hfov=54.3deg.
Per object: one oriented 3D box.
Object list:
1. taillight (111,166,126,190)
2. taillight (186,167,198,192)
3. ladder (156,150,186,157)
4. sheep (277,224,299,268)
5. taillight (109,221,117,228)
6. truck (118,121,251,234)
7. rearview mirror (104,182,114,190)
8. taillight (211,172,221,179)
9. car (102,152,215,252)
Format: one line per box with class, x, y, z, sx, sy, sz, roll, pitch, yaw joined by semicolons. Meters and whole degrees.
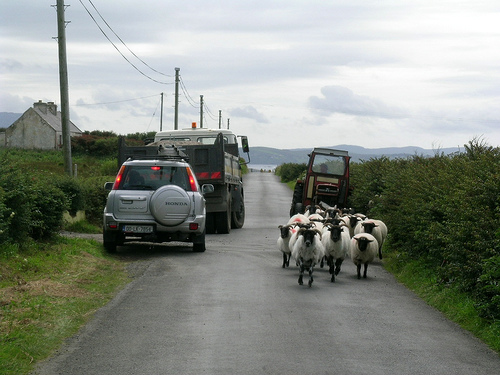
taillight;-3.928;-0.275;14.433;0.361;0.726;0.381;3;2;37
taillight;-1.751;-0.236;14.625;0.245;0.700;0.369;0;2;-38
ladder;-2.803;-1.227;17.343;0.727;0.195;2.005;3;2;5
sheep;1.052;1.616;13.658;0.528;1.194;0.611;-1;4;-6
taillight;-3.983;1.077;14.136;0.238;0.198;0.056;3;2;17
truck;-2.473;-0.524;20.869;3.637;3.848;6.945;0;3;3
rearview mirror;-4.292;-0.016;14.780;0.204;0.248;0.117;3;15;-4
taillight;-1.366;-0.484;19.561;0.228;0.183;0.012;1;-1;-3
car;-2.737;0.408;13.662;2.052;1.760;3.320;0;3;-1
